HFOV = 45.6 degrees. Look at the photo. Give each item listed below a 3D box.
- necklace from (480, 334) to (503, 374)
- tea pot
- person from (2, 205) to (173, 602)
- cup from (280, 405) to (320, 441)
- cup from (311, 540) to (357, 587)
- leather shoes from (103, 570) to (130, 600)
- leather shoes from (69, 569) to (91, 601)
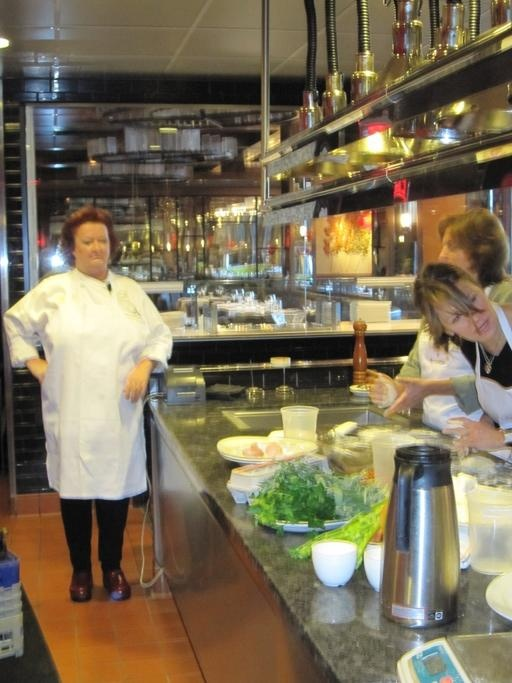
[{"bbox_3d":[0.764,0.036,1.975,0.011,0.125,0.104,-17,24,-20],"label":"necklace"},{"bbox_3d":[0.224,0.269,0.821,0.104,0.241,0.115,1,2,8],"label":"tea pot"},{"bbox_3d":[-0.766,0.299,2.856,0.705,1.868,0.480,1,2,5],"label":"person"},{"bbox_3d":[0.143,0.263,1.982,0.113,0.113,0.109,1,-1,0],"label":"cup"},{"bbox_3d":[0.127,0.363,0.999,0.080,0.056,0.079,-3,1,0],"label":"cup"},{"bbox_3d":[-0.657,1.167,2.927,0.079,0.069,0.169,-1,1,-22],"label":"leather shoes"},{"bbox_3d":[-0.831,1.170,2.909,0.067,0.071,0.168,1,-1,-12],"label":"leather shoes"}]
